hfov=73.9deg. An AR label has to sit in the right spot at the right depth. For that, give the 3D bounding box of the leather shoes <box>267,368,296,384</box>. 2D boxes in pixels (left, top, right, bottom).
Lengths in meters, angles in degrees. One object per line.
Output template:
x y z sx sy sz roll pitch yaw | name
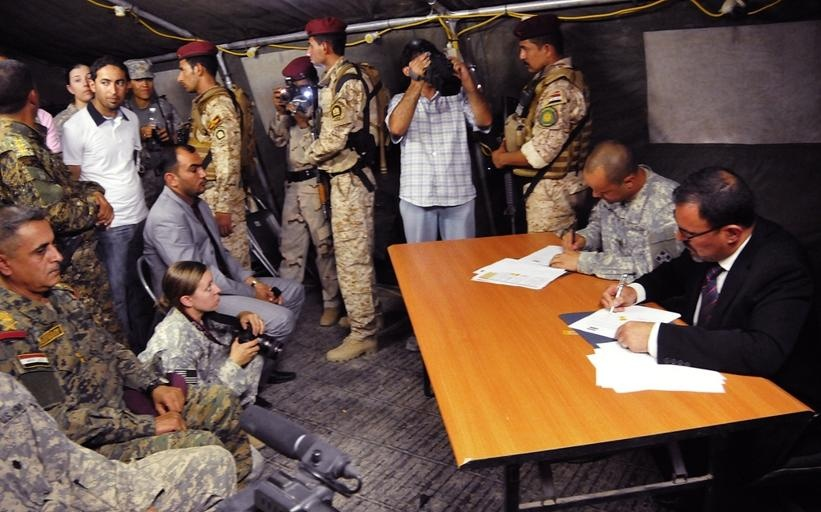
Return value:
-0.976 0.900 4.124 0.250 0.070 0.084 -4 12 -9 | leather shoes

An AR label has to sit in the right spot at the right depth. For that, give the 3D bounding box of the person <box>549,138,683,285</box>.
1.352 -0.267 3.354 0.980 0.766 0.930 -9 19 6 | person

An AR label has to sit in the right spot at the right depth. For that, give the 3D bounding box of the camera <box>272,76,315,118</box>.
-1.027 -1.400 4.720 0.305 0.278 0.360 -20 30 -35 | camera

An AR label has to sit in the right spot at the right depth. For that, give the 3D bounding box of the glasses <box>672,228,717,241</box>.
1.339 -0.101 2.574 0.090 0.021 0.077 -24 21 -10 | glasses

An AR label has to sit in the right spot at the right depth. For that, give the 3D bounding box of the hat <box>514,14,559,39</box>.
0.907 -1.636 3.930 0.284 0.082 0.206 6 22 28 | hat

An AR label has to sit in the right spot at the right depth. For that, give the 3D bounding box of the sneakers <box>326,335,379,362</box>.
-0.453 0.704 4.373 0.502 0.162 0.151 -11 21 -7 | sneakers

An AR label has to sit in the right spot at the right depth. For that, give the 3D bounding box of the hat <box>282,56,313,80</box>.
-0.958 -1.623 4.666 0.272 0.089 0.274 2 29 8 | hat

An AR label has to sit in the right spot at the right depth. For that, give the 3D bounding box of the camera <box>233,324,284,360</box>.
-0.942 0.533 3.561 0.281 0.199 0.146 21 30 13 | camera

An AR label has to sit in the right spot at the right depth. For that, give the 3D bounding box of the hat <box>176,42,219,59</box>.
-1.703 -1.620 4.315 0.275 0.077 0.219 9 20 40 | hat
